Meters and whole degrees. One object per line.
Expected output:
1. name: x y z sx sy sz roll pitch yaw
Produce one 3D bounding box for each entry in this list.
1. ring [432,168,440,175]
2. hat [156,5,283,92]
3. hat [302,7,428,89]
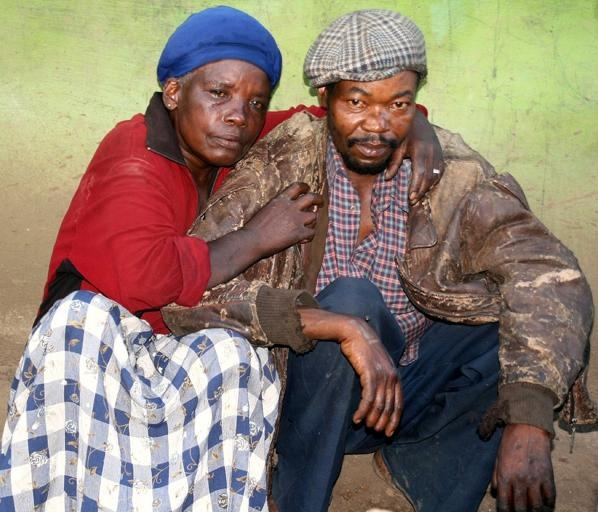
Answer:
1. ring: 0.572 -0.350 4.047 0.025 0.024 0.006 3 -24 -8
2. hat: -0.345 -0.889 4.053 0.406 0.263 0.321 -10 24 -3
3. hat: 0.266 -0.814 3.954 0.333 0.169 0.388 -13 10 -26
